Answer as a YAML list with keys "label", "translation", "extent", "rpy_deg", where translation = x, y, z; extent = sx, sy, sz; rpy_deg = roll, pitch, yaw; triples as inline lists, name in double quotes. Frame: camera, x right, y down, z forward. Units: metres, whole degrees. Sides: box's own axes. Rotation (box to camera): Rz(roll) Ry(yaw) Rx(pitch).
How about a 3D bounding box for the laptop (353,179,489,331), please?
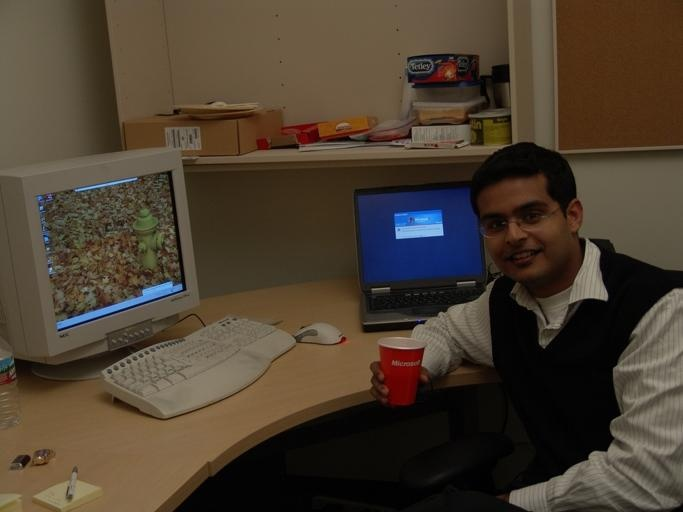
- label: "laptop"
  translation: [0.271, -0.027, 1.931]
  extent: [0.519, 0.456, 0.475]
  rpy_deg: [-4, 14, -1]

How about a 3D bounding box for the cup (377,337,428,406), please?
- label: "cup"
  translation: [0.137, 0.277, 1.358]
  extent: [0.148, 0.171, 0.151]
  rpy_deg: [0, 4, 0]

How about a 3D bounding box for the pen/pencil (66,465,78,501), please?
- label: "pen/pencil"
  translation: [-0.547, 0.465, 1.089]
  extent: [0.008, 0.007, 0.054]
  rpy_deg: [5, 30, -11]

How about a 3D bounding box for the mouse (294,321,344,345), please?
- label: "mouse"
  translation: [-0.078, 0.236, 1.690]
  extent: [0.111, 0.039, 0.074]
  rpy_deg: [2, 6, 10]
